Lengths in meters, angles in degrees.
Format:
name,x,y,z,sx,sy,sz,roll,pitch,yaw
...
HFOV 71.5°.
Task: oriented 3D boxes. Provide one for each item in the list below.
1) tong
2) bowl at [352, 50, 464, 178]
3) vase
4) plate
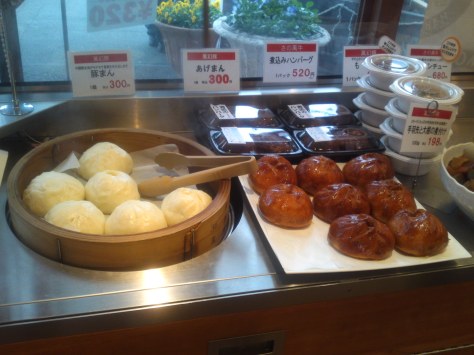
name,x,y,z,sx,sy,sz,roll,pitch,yaw
tong,-0.118,-0.030,0.974,0.334,0.069,0.173,-8,34,4
bowl,0.607,-0.200,1.268,0.326,0.508,0.328,-1,27,0
vase,-0.204,-0.498,1.256,0.125,0.164,0.136,-19,37,-27
plate,0.280,0.067,0.943,0.421,0.142,0.414,-7,23,-13
